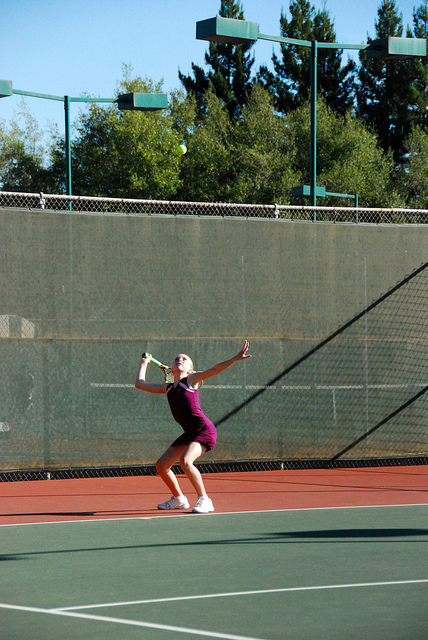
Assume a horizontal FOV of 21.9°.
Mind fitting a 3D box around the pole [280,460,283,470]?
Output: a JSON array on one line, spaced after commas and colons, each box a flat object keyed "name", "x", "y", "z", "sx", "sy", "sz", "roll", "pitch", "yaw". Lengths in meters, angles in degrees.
[{"name": "pole", "x": 0.754, "y": 1.636, "z": 12.350, "sx": 0.039, "sy": 0.101, "sz": 0.051, "roll": -4, "pitch": 2, "yaw": -32}]

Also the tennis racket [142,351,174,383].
[{"name": "tennis racket", "x": -0.474, "y": 0.481, "z": 10.485, "sx": 0.051, "sy": 0.222, "sz": 0.520, "roll": 18, "pitch": -13, "yaw": 36}]

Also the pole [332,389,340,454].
[{"name": "pole", "x": 1.363, "y": 1.153, "z": 12.461, "sx": 0.038, "sy": 0.724, "sz": 0.087, "roll": -1, "pitch": 2, "yaw": 29}]

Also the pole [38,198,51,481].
[{"name": "pole", "x": -1.727, "y": 0.230, "z": 11.257, "sx": 0.107, "sy": 2.886, "sz": 0.291, "roll": -3, "pitch": 2, "yaw": -9}]
